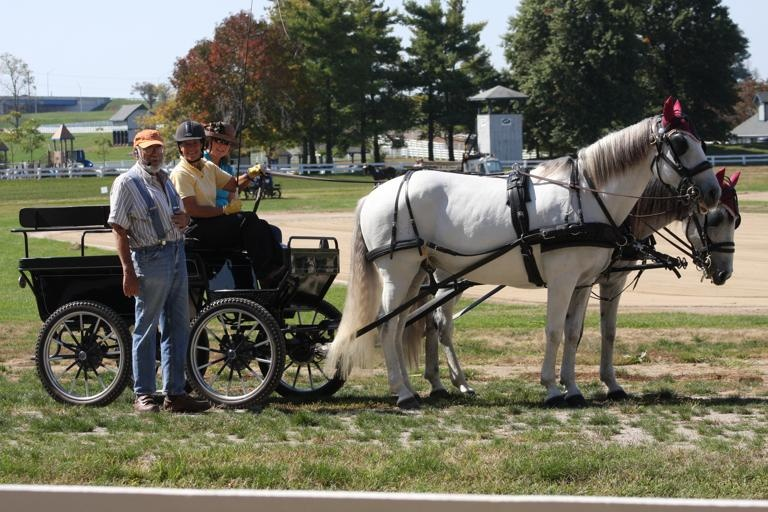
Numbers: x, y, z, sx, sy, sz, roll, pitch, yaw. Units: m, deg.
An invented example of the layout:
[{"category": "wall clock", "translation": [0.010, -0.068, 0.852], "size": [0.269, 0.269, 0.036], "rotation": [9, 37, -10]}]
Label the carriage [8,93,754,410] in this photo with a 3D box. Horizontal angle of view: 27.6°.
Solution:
[{"category": "carriage", "translation": [0.361, 0.238, 46.929], "size": [20.777, 8.587, 5.856], "rotation": [-2, 1, -13]}]

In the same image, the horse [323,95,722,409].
[{"category": "horse", "translation": [4.022, 0.156, 46.834], "size": [12.311, 8.149, 3.733], "rotation": [-5, -5, 26]}]
